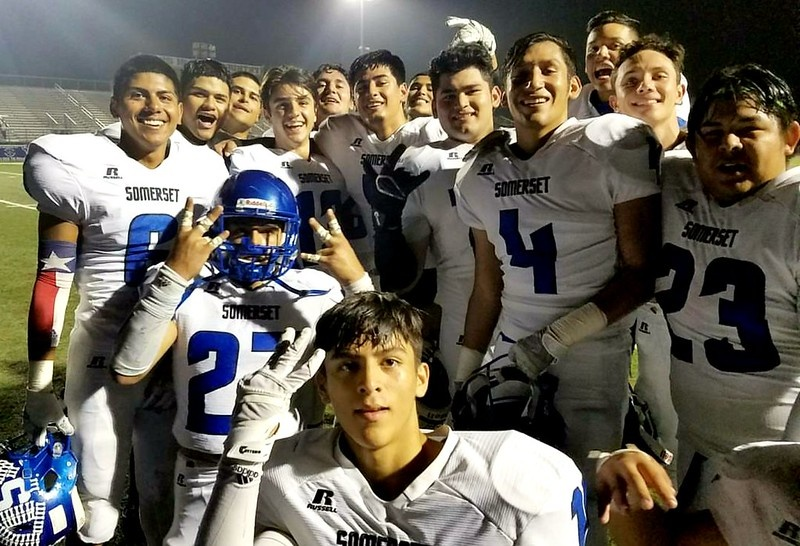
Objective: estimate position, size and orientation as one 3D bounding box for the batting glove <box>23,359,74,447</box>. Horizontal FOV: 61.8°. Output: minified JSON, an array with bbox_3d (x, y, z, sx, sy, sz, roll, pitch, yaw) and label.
[{"bbox_3d":[-2.176,0.795,4.170,0.266,0.494,0.255,-3,6,-27],"label":"batting glove"}]

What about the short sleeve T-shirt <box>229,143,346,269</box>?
[{"bbox_3d":[-0.858,-0.508,5.303,0.751,0.962,0.706,4,11,4],"label":"short sleeve T-shirt"}]

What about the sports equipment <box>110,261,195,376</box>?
[{"bbox_3d":[-1.383,0.299,3.877,0.255,0.618,0.452,26,-10,-22],"label":"sports equipment"}]

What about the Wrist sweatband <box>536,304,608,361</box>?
[{"bbox_3d":[0.931,0.299,3.726,0.390,0.226,0.159,-35,9,0],"label":"Wrist sweatband"}]

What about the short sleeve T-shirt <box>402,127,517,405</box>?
[{"bbox_3d":[0.317,-0.078,4.903,0.455,1.664,0.971,-15,13,-36],"label":"short sleeve T-shirt"}]

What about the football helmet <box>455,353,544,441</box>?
[{"bbox_3d":[0.571,0.824,4.020,0.601,0.411,0.558,-6,33,2],"label":"football helmet"}]

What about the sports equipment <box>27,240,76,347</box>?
[{"bbox_3d":[-2.203,0.130,4.270,0.273,0.675,0.150,-2,5,-13],"label":"sports equipment"}]

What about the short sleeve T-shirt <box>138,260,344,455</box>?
[{"bbox_3d":[-0.937,0.470,3.974,1.179,1.089,0.445,18,-15,-28],"label":"short sleeve T-shirt"}]
